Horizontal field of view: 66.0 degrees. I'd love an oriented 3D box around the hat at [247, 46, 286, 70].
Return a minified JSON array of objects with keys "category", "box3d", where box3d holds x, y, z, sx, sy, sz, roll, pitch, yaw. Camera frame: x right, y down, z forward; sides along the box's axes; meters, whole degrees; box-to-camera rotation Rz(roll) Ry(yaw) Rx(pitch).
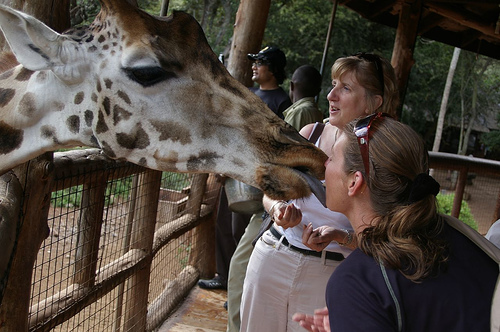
[{"category":"hat","box3d":[0.227,-1.443,4.967,0.563,0.283,0.337,7,9,-14]}]
